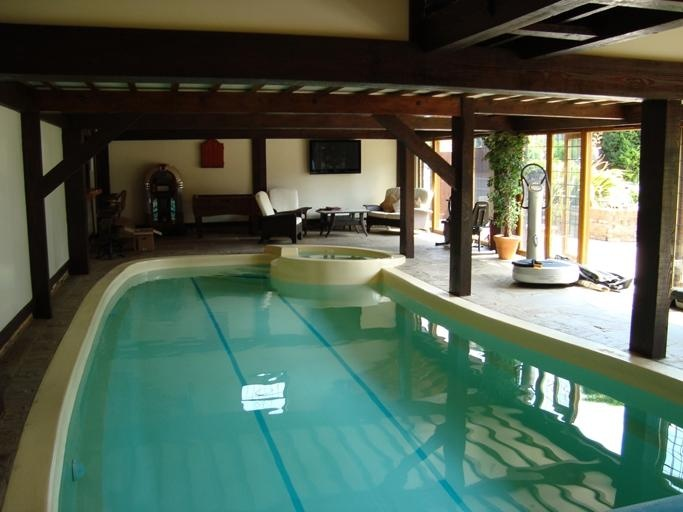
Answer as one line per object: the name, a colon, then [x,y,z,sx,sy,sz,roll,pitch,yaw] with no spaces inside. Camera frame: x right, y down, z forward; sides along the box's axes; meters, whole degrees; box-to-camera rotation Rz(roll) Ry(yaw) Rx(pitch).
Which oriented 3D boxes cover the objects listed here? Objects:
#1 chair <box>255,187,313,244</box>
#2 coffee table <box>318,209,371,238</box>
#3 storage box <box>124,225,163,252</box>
chair: [-1.524,-1.057,12.742,1.534,1.529,1.365,0,12,-6]
coffee table: [0.053,-1.014,14.122,1.384,0.820,1.674,-1,13,2]
storage box: [-4.715,-0.419,11.574,0.823,0.541,0.614,-2,12,-14]
